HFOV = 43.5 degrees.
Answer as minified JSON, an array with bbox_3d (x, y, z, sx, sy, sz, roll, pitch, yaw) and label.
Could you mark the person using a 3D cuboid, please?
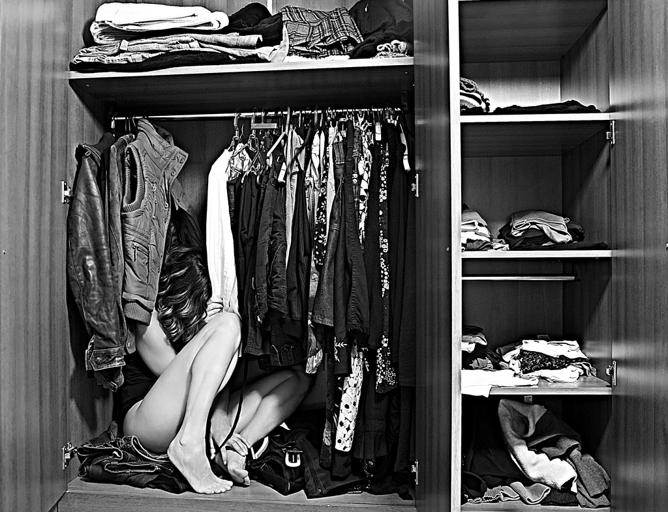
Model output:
[{"bbox_3d":[-0.633,0.616,4.483,0.974,1.882,1.020,-1,-12,-4],"label":"person"}]
